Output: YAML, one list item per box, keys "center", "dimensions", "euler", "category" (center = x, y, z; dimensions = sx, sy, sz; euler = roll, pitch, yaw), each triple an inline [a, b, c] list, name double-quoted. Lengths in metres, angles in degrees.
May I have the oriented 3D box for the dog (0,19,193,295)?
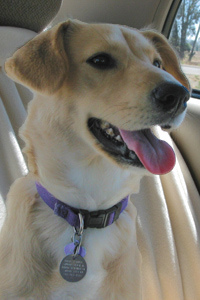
- center: [-0.034, 0.014, 0.809]
  dimensions: [0.448, 0.502, 0.576]
  euler: [6, 48, -3]
  category: "dog"
